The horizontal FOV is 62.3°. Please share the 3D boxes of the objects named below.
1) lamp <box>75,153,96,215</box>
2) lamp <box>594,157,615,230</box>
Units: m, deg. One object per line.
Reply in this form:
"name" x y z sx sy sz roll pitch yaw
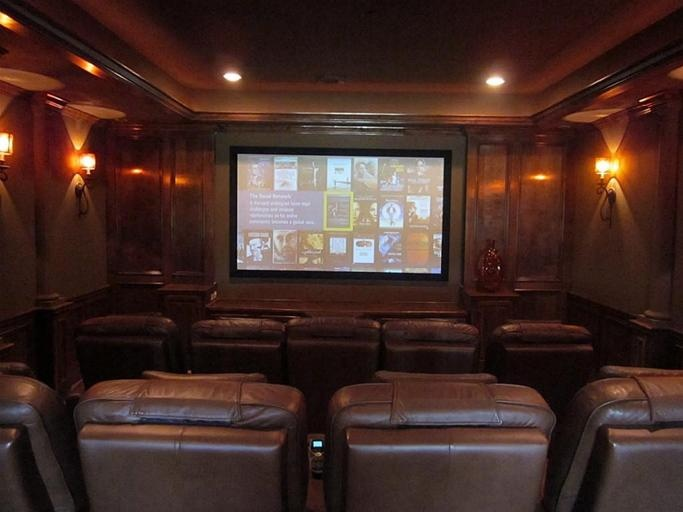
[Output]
"lamp" -2.764 -0.751 6.117 0.197 0.684 0.149 -4 6 -29
"lamp" 2.745 -0.661 5.889 0.203 0.691 0.213 3 5 24
